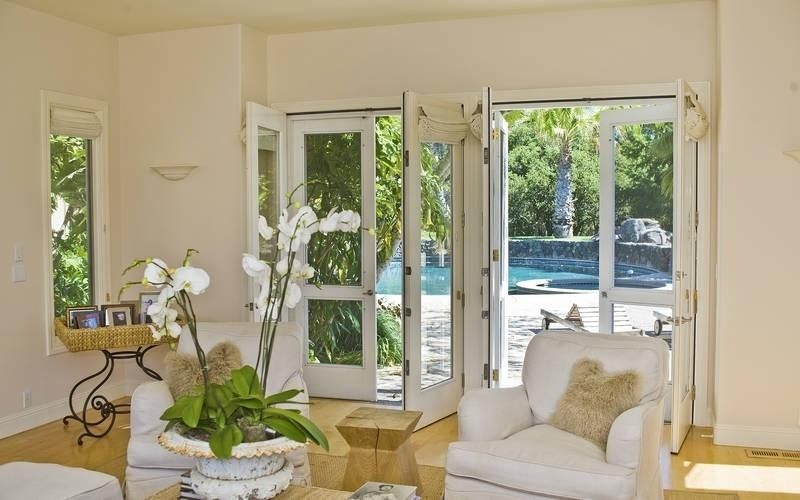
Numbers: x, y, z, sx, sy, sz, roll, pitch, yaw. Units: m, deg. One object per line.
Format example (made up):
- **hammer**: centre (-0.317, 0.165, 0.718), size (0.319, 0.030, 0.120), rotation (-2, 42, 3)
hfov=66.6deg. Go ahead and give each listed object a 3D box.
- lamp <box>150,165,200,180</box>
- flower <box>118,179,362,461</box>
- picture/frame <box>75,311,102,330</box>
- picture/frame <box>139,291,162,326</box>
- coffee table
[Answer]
- **lamp**: centre (-2.391, -0.814, 6.474), size (0.565, 0.161, 0.106), rotation (0, 2, 26)
- **flower**: centre (-0.908, 0.446, 3.655), size (1.272, 1.456, 1.053), rotation (6, 1, 1)
- **picture/frame**: centre (-2.933, 0.669, 5.759), size (0.184, 0.158, 0.040), rotation (5, -12, -18)
- **picture/frame**: centre (-2.434, 0.587, 5.962), size (0.251, 0.313, 0.024), rotation (-3, -8, 17)
- **coffee table**: centre (-0.124, 1.312, 4.235), size (0.601, 0.564, 0.557), rotation (0, -2, 17)
